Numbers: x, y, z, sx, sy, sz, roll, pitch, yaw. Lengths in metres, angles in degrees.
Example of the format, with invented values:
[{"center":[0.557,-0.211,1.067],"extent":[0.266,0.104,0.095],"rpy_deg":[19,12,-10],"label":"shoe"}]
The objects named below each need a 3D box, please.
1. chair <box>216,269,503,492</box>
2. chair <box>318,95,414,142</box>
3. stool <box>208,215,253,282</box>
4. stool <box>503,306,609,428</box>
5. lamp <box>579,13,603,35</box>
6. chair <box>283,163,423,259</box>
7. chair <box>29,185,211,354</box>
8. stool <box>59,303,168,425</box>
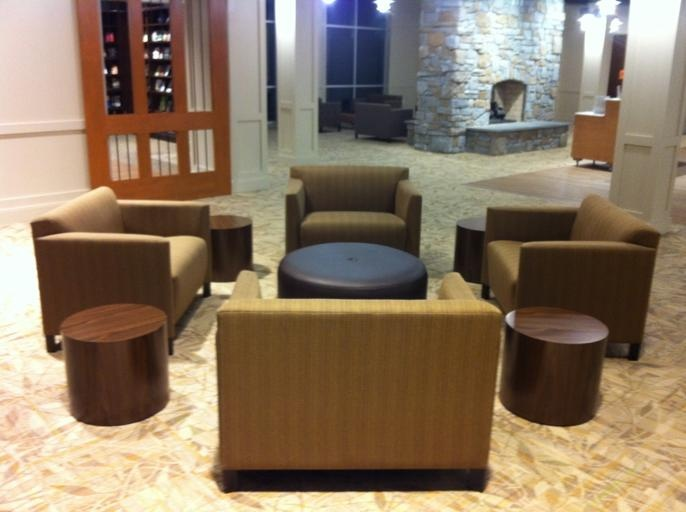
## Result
[{"center":[0.061,0.659,2.864],"extent":[1.315,0.794,0.956],"rpy_deg":[1,0,4],"label":"chair"},{"center":[0.549,-3.518,13.647],"extent":[1.879,1.044,2.374],"rpy_deg":[-8,21,-22],"label":"chair"},{"center":[-0.869,-0.074,4.888],"extent":[0.545,0.577,0.524],"rpy_deg":[-1,10,-7],"label":"stool"},{"center":[1.251,0.634,3.311],"extent":[0.636,0.545,0.614],"rpy_deg":[13,22,34],"label":"stool"},{"center":[5.962,-5.606,12.895],"extent":[0.487,0.383,0.768],"rpy_deg":[8,21,21],"label":"lamp"},{"center":[0.088,-0.405,5.149],"extent":[1.259,0.818,0.662],"rpy_deg":[-1,23,-4],"label":"chair"},{"center":[-1.554,0.045,4.040],"extent":[0.953,0.902,1.194],"rpy_deg":[2,19,-6],"label":"chair"},{"center":[-1.290,0.636,3.213],"extent":[0.628,0.546,0.580],"rpy_deg":[-5,16,-18],"label":"stool"}]
